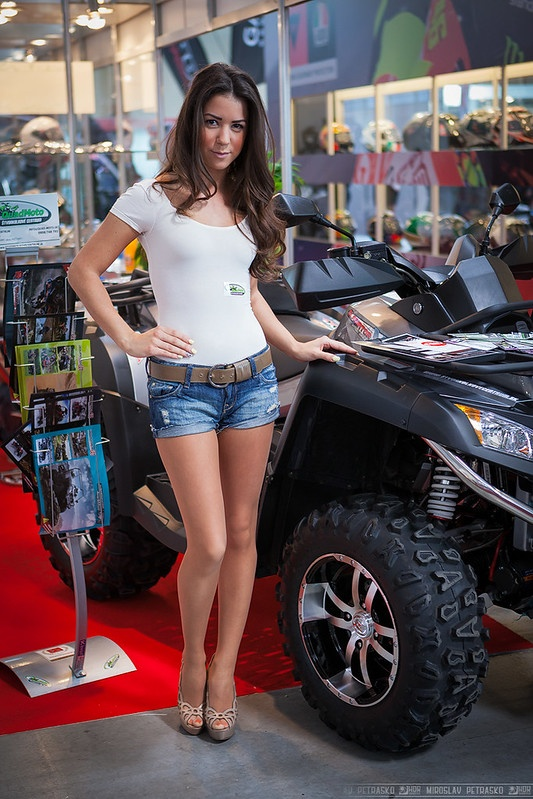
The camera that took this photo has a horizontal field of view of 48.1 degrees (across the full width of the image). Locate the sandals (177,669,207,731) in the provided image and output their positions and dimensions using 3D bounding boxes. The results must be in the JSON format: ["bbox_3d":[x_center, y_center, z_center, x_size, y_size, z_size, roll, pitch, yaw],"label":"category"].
[{"bbox_3d":[-0.178,0.741,1.439,0.052,0.050,0.155,3,3,-7],"label":"sandals"}]

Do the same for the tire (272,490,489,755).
[{"bbox_3d":[0.247,0.475,1.256,0.184,0.572,0.572,-4,9,-31],"label":"tire"}]

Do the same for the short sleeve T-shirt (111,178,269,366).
[{"bbox_3d":[-0.152,-0.246,1.223,0.326,0.366,0.165,0,-4,-18],"label":"short sleeve T-shirt"}]

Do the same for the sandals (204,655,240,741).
[{"bbox_3d":[-0.101,0.706,1.425,0.054,0.047,0.179,1,42,-6],"label":"sandals"}]
